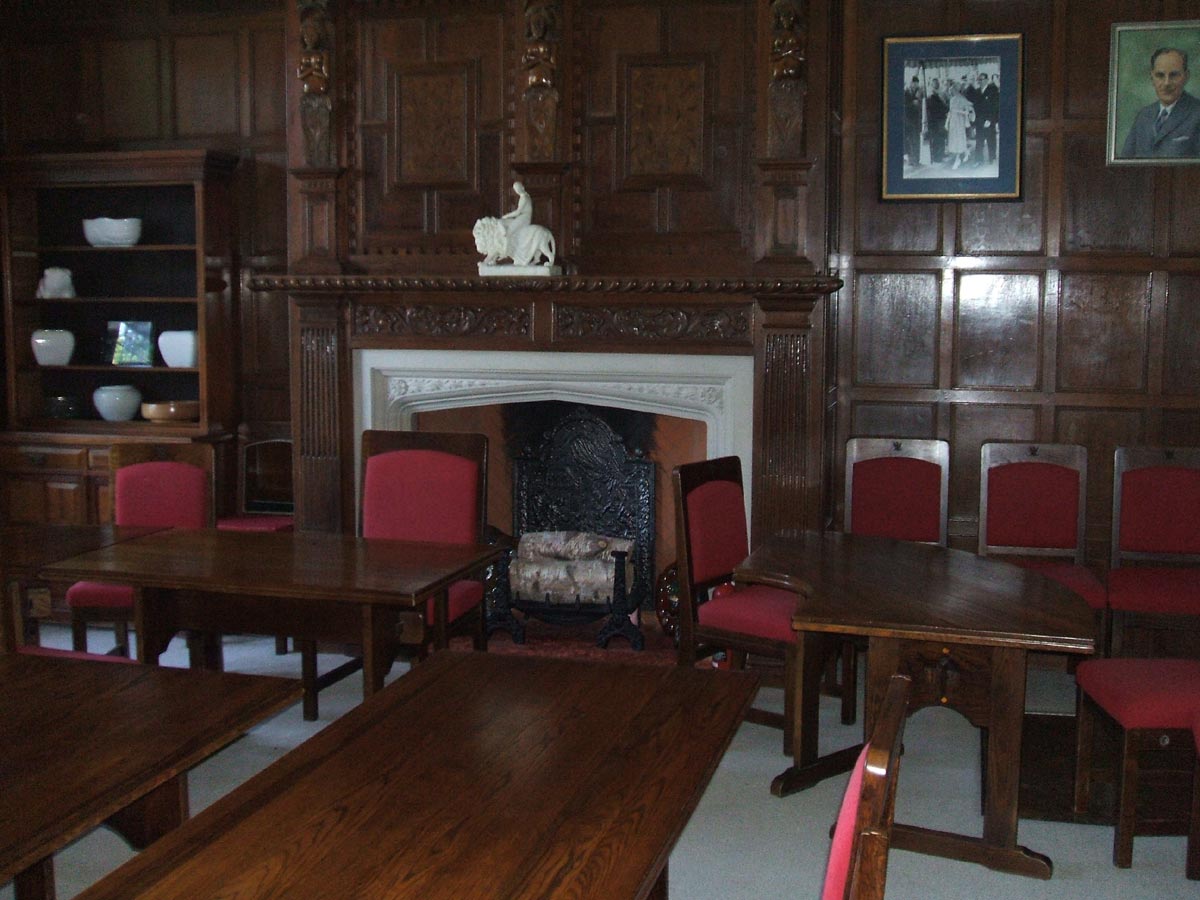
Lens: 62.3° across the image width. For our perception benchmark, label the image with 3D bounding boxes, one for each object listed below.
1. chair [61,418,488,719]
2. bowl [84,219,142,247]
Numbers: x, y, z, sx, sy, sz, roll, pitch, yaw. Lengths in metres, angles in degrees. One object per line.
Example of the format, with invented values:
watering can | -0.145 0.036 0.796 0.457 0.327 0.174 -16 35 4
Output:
chair | -1.057 0.448 4.001 1.319 0.945 1.306 2 4 19
bowl | -2.873 -1.257 5.854 0.220 0.108 0.214 1 11 0
